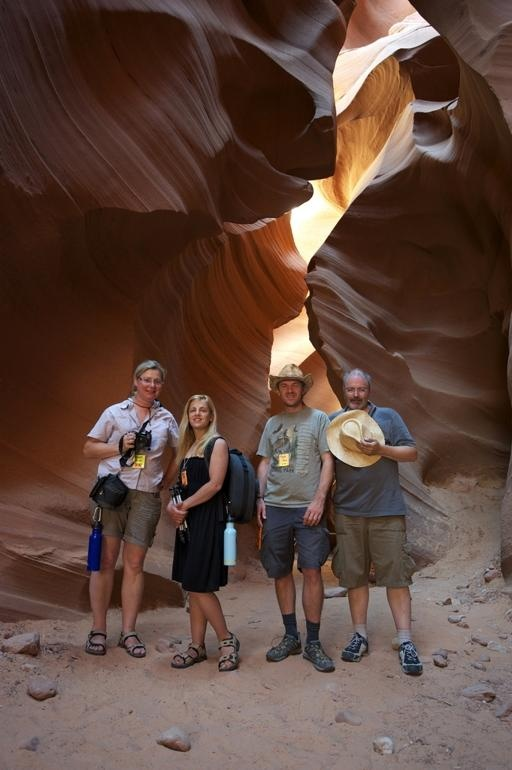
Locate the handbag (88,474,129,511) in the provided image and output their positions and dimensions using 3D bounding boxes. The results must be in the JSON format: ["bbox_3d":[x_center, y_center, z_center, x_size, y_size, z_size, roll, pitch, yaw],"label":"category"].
[{"bbox_3d":[-0.755,0.555,3.141,0.198,0.145,0.085,12,-14,38],"label":"handbag"}]

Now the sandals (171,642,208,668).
[{"bbox_3d":[-0.339,1.379,3.101,0.070,0.084,0.206,-5,-20,29],"label":"sandals"}]

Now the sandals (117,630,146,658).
[{"bbox_3d":[-0.628,1.333,3.139,0.078,0.064,0.158,4,-9,-28],"label":"sandals"}]

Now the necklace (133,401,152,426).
[{"bbox_3d":[-0.627,0.160,3.382,0.084,0.122,0.080,10,-6,10],"label":"necklace"}]

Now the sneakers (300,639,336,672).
[{"bbox_3d":[0.301,1.314,2.965,0.093,0.106,0.235,0,-2,-26],"label":"sneakers"}]

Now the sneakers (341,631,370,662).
[{"bbox_3d":[0.506,1.302,3.046,0.092,0.106,0.232,-2,-2,31],"label":"sneakers"}]

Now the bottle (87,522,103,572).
[{"bbox_3d":[-0.820,0.844,3.118,0.066,0.262,0.127,-1,-1,-13],"label":"bottle"}]

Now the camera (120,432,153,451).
[{"bbox_3d":[-0.611,0.292,3.142,0.141,0.084,0.099,-1,12,-9],"label":"camera"}]

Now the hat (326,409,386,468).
[{"bbox_3d":[0.500,0.272,3.087,0.277,0.278,0.140,-1,-1,6],"label":"hat"}]

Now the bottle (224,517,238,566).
[{"bbox_3d":[-0.129,0.773,2.938,0.057,0.237,0.181,-1,-2,-7],"label":"bottle"}]

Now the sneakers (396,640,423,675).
[{"bbox_3d":[0.721,1.271,2.842,0.102,0.108,0.150,-2,-2,13],"label":"sneakers"}]

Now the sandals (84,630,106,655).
[{"bbox_3d":[-0.810,1.309,3.102,0.104,0.102,0.111,-1,-2,-3],"label":"sandals"}]

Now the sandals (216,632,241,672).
[{"bbox_3d":[-0.135,1.316,3.007,0.106,0.159,0.140,-1,-2,-4],"label":"sandals"}]

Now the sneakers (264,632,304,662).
[{"bbox_3d":[0.151,1.358,3.155,0.079,0.102,0.231,-11,-12,43],"label":"sneakers"}]

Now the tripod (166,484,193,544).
[{"bbox_3d":[-0.381,0.637,3.036,0.090,0.284,0.104,0,-4,-21],"label":"tripod"}]
